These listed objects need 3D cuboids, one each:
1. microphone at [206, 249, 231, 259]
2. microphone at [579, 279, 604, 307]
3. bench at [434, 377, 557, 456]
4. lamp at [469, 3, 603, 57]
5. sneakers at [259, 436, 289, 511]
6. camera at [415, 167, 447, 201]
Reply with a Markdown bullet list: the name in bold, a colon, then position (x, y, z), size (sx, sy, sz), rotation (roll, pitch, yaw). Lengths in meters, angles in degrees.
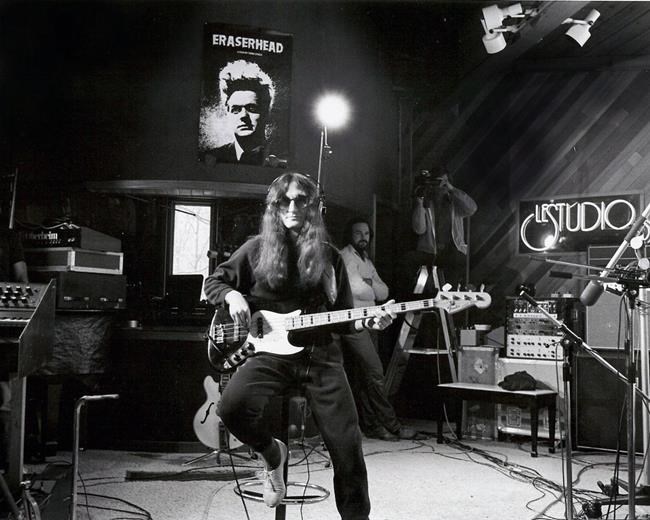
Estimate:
- **microphone**: position (-1.031, -0.051, 7.549), size (0.092, 0.089, 0.336), rotation (11, 2, 39)
- **microphone**: position (1.991, 0.251, 5.872), size (0.142, 0.233, 0.137), rotation (30, -10, 19)
- **bench**: position (1.596, 1.487, 7.416), size (1.100, 0.576, 0.424), rotation (-2, -5, 44)
- **lamp**: position (2.201, -2.443, 8.308), size (0.978, 0.242, 0.434), rotation (3, -35, 14)
- **sneakers**: position (-0.335, 1.351, 5.017), size (0.153, 0.429, 0.172), rotation (-1, 3, 25)
- **camera**: position (1.178, -0.848, 8.755), size (0.352, 0.354, 0.129), rotation (2, -2, 3)
